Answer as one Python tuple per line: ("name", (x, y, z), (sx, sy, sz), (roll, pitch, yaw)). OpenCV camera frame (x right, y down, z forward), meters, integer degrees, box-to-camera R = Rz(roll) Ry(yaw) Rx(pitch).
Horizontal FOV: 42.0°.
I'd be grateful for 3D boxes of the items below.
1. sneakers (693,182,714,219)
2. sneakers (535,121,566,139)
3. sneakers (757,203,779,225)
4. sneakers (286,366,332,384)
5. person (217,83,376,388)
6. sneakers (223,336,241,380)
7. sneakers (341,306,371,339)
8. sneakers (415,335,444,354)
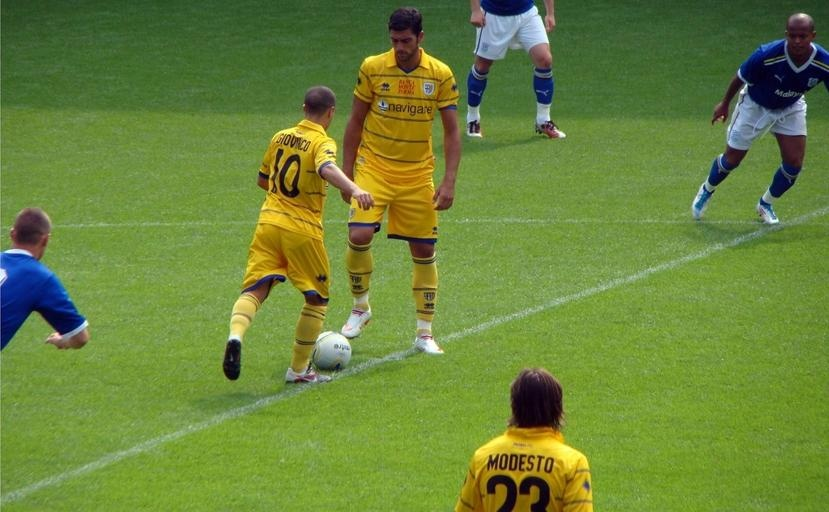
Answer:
("sneakers", (3.431, -0.667, 12.920), (0.183, 0.509, 0.228), (17, 25, 0))
("sneakers", (1.908, -1.774, 15.034), (0.513, 0.210, 0.188), (13, 37, 33))
("sneakers", (4.181, -0.488, 12.760), (0.113, 0.087, 0.259), (36, 16, -49))
("sneakers", (-1.028, 1.159, 10.499), (0.444, 0.185, 0.168), (0, -1, -6))
("person", (-1.203, -0.146, 10.198), (1.205, 2.666, 1.240), (-3, 24, -13))
("sneakers", (-1.660, 0.932, 9.872), (0.157, 0.399, 0.213), (2, -6, -1))
("sneakers", (-0.591, 0.677, 11.046), (0.166, 0.182, 0.450), (19, 41, 27))
("sneakers", (0.142, 0.885, 10.808), (0.287, 0.114, 0.151), (7, 16, 21))
